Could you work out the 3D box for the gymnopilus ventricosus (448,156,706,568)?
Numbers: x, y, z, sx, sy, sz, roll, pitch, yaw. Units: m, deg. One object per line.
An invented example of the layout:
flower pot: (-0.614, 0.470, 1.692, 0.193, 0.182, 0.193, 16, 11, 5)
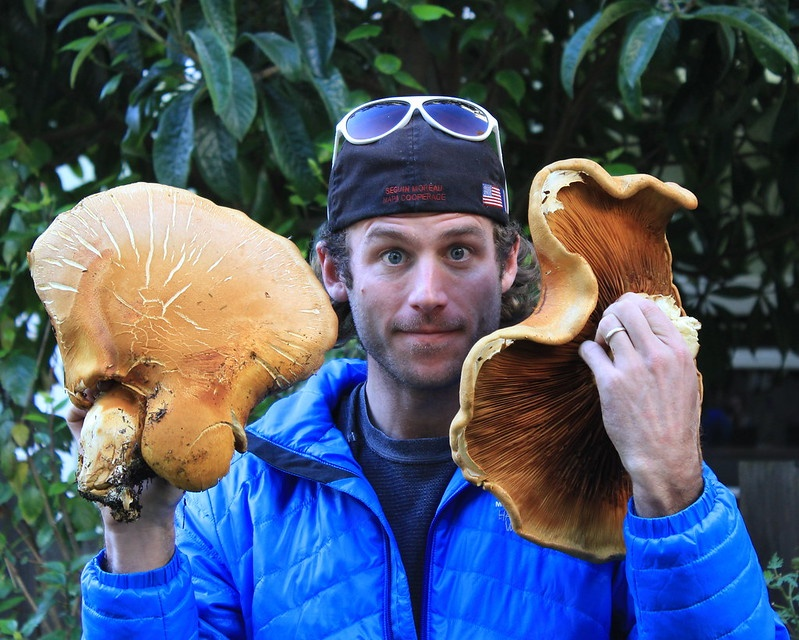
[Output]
gymnopilus ventricosus: (0.505, 0.127, 3.780, 0.754, 1.161, 0.199, -3, -4, -13)
